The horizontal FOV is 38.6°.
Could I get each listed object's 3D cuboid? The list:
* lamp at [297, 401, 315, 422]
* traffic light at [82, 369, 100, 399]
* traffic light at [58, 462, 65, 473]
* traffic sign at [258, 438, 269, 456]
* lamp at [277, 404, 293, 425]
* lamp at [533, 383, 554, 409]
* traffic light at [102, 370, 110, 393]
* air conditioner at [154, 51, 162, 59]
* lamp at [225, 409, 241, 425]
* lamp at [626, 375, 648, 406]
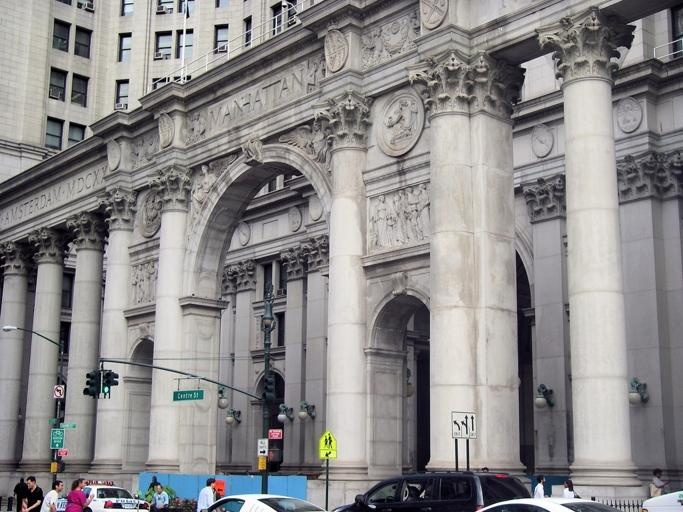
[{"bbox_3d":[-2.276,9.266,58.251,0.786,1.191,1.085,-19,-33,34],"label":"lamp"},{"bbox_3d":[-11.852,6.069,46.678,0.710,1.324,1.783,4,-22,-13],"label":"traffic light"},{"bbox_3d":[-15.556,11.753,54.189,0.326,0.702,0.453,4,-8,-33],"label":"traffic light"},{"bbox_3d":[-3.321,8.084,41.408,0.410,0.807,0.990,3,-22,-8],"label":"traffic sign"},{"bbox_3d":[-3.478,9.608,59.967,0.875,1.149,1.352,-13,-25,30],"label":"lamp"},{"bbox_3d":[9.726,6.731,46.955,0.505,1.086,0.974,13,-21,-30],"label":"lamp"},{"bbox_3d":[-11.207,5.945,46.636,0.372,1.076,0.668,2,-20,-6],"label":"traffic light"},{"bbox_3d":[-15.056,-16.358,80.048,0.545,0.605,0.331,-5,-16,16],"label":"air conditioner"},{"bbox_3d":[-7.189,10.494,64.072,1.042,1.098,0.997,19,-28,-40],"label":"lamp"},{"bbox_3d":[13.351,6.025,43.908,0.868,1.226,0.500,-8,-21,20],"label":"lamp"}]
